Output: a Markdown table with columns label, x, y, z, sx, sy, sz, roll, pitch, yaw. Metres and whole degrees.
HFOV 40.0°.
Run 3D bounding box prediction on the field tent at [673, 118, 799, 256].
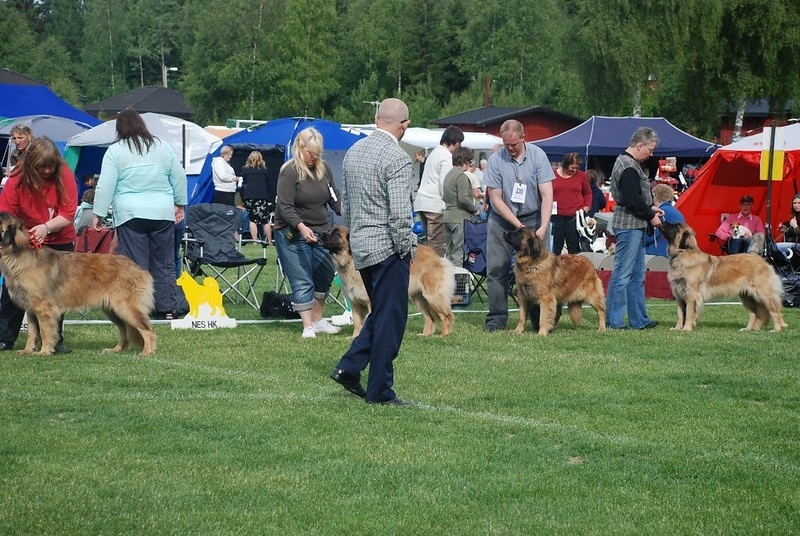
| label | x | y | z | sx | sy | sz | roll | pitch | yaw |
| --- | --- | --- | --- | --- | --- | --- | --- | --- | --- |
| field tent | 7.204 | -1.554 | 22.074 | 2.619 | 1.836 | 2.155 | 3 | 1 | -40 |

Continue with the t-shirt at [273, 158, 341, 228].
| label | x | y | z | sx | sy | sz | roll | pitch | yaw |
| --- | --- | --- | --- | --- | --- | --- | --- | --- | --- |
| t-shirt | -1.295 | -0.993 | 15.601 | 0.873 | 1.168 | 1.050 | 4 | 7 | 45 |

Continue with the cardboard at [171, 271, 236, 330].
| label | x | y | z | sx | sy | sz | roll | pitch | yaw |
| --- | --- | --- | --- | --- | --- | --- | --- | --- | --- |
| cardboard | -2.970 | 0.544 | 16.438 | 0.775 | 0.857 | 0.020 | -1 | 3 | -20 |

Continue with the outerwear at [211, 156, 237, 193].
| label | x | y | z | sx | sy | sz | roll | pitch | yaw |
| --- | --- | --- | --- | --- | --- | --- | --- | --- | --- |
| outerwear | -3.807 | -1.920 | 23.714 | 0.571 | 0.826 | 0.856 | -2 | 9 | -3 |

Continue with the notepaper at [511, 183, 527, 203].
| label | x | y | z | sx | sy | sz | roll | pitch | yaw |
| --- | --- | --- | --- | --- | --- | --- | --- | --- | --- |
| notepaper | 1.743 | -1.070 | 15.974 | 0.218 | 0.320 | 0.042 | 9 | -4 | 3 |
